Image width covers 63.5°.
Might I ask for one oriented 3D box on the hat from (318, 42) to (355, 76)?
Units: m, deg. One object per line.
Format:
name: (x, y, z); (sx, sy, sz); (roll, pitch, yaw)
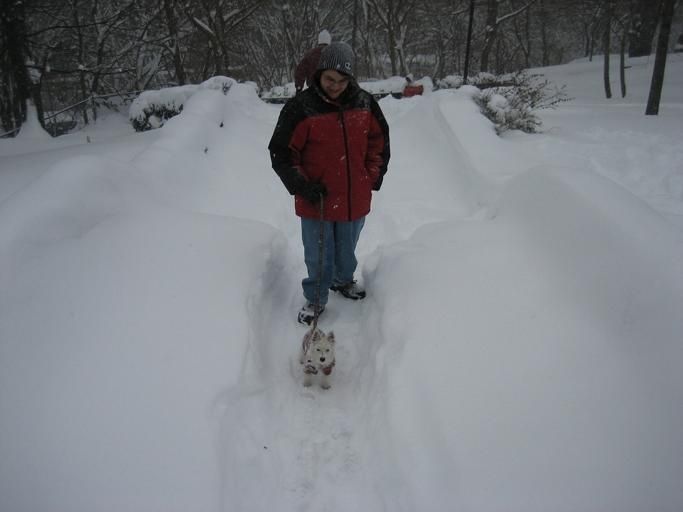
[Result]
hat: (-0.033, -1.542, 4.350); (0.210, 0.221, 0.270); (1, 42, -17)

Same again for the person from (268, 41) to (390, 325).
person: (-0.101, -0.571, 4.753); (1.022, 2.374, 0.596); (-13, 18, -35)

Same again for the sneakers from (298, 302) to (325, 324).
sneakers: (-0.311, 0.518, 5.033); (0.130, 0.118, 0.261); (0, 10, 5)

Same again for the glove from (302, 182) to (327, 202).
glove: (-0.226, -0.539, 4.559); (0.119, 0.173, 0.234); (9, 20, 36)
